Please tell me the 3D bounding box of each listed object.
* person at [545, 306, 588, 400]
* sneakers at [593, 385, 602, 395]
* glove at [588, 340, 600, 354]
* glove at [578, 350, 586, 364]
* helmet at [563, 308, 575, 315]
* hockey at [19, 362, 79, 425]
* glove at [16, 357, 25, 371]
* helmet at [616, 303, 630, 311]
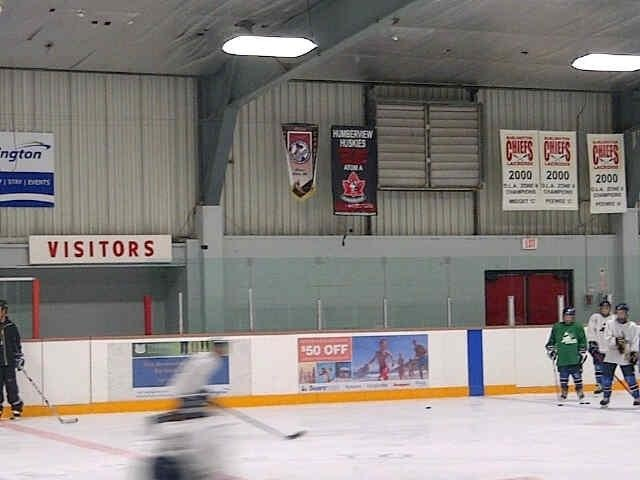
[{"bbox_3d":[5.009,2.321,26.601,0.846,1.657,0.660,-2,-1,10],"label":"person"},{"bbox_3d":[5.745,3.077,26.931,0.107,0.199,0.219,2,0,-29],"label":"sneakers"},{"bbox_3d":[5.506,2.147,26.398,0.215,0.190,0.211,0,1,-31],"label":"glove"},{"bbox_3d":[5.322,2.366,26.539,0.078,0.235,0.179,9,9,34],"label":"glove"},{"bbox_3d":[5.056,1.448,26.656,0.192,0.113,0.259,1,-4,-1],"label":"helmet"},{"bbox_3d":[-5.372,3.023,25.584,0.274,1.345,0.201,-38,14,20],"label":"hockey"},{"bbox_3d":[-5.798,2.383,25.258,0.164,0.211,0.086,1,2,-33],"label":"glove"},{"bbox_3d":[5.972,1.316,25.899,0.275,0.138,0.395,1,2,11],"label":"helmet"}]
